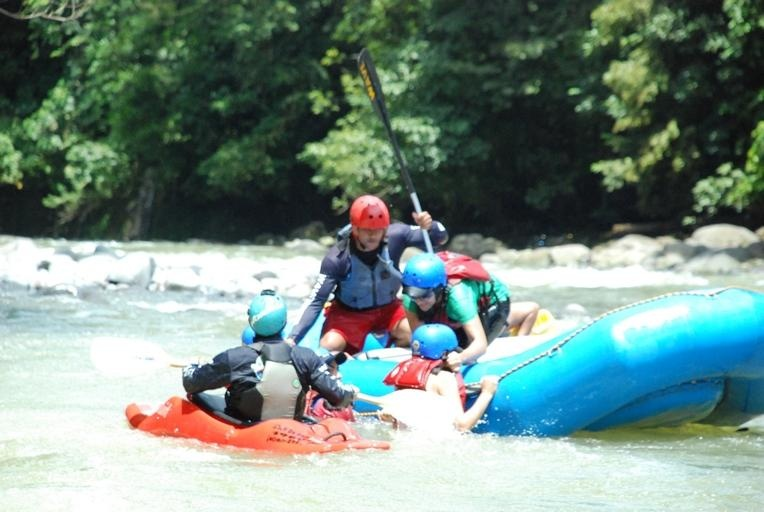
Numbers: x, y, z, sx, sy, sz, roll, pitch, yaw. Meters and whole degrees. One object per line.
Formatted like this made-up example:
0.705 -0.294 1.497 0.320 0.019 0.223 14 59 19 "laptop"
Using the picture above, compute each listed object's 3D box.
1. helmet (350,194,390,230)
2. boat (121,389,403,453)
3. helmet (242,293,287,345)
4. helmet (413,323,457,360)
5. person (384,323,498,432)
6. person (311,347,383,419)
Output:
-0.149 -0.541 13.564 0.359 0.377 0.461 2 13 -7 "helmet"
-1.354 1.919 12.764 2.984 0.518 0.974 3 -8 14 "boat"
-1.298 0.653 12.735 0.476 0.527 0.583 6 20 -7 "helmet"
0.614 0.987 12.999 0.460 0.350 0.369 3 -10 16 "helmet"
0.710 1.441 12.959 0.767 1.110 0.638 19 52 33 "person"
-0.557 1.524 13.215 0.553 0.740 0.279 -10 -9 43 "person"
